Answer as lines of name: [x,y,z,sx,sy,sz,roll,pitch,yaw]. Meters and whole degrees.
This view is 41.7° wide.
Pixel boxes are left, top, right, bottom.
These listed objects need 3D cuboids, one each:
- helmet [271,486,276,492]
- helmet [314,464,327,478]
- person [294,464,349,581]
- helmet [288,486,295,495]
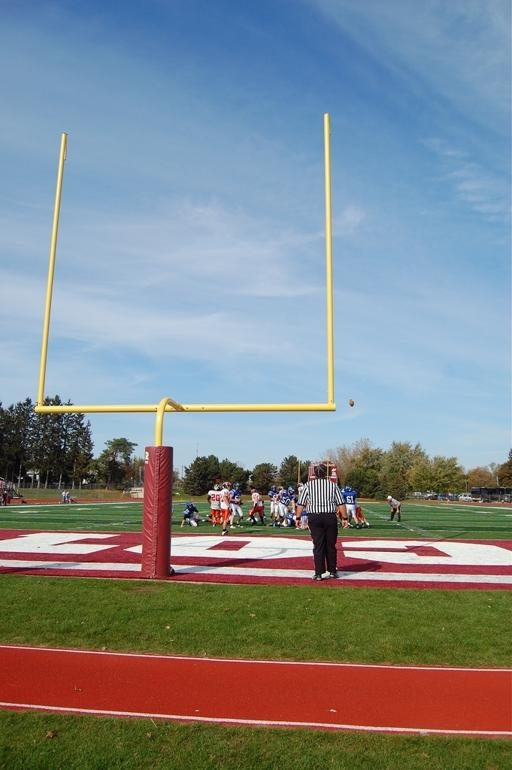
helmet: [0.561,3.189,20.077,0.151,0.177,0.191,0,-45,3]
helmet: [0.742,0.991,7.537,0.131,0.167,0.165,1,-1,4]
person: [0.734,1.539,7.494,0.501,1.253,0.360,0,-7,3]
helmet: [1.071,3.173,19.672,0.265,0.278,0.213,0,-12,27]
